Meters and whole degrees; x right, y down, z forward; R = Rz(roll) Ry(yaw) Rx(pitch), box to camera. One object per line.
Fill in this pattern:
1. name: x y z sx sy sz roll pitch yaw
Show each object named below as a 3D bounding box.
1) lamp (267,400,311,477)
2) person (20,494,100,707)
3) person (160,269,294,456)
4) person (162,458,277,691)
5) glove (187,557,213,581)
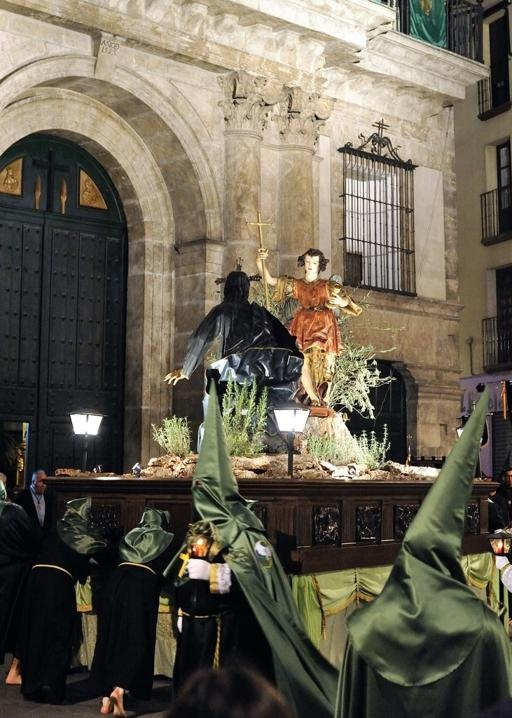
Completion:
1. lamp: 0.233 0.603 6.856 0.247 0.498 0.437 -1 -2 16
2. person: -1.251 1.529 6.025 0.514 1.212 0.352 0 -2 -11
3. person: -0.146 0.086 8.083 0.912 1.652 0.673 2 -16 -4
4. person: -0.198 1.339 5.058 0.569 0.985 0.717 0 -2 -8
5. glove: -0.294 1.070 4.762 0.115 0.092 0.044 -7 11 42
